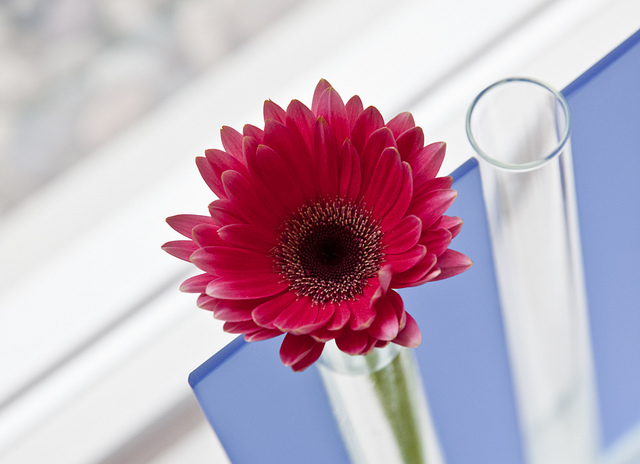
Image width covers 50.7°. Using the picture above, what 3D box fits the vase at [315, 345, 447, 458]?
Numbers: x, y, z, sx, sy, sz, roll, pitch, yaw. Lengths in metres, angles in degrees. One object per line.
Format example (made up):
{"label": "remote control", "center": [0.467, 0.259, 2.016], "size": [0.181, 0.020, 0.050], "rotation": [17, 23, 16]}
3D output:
{"label": "vase", "center": [0.070, 0.203, 0.760], "size": [0.116, 0.151, 0.091], "rotation": [-20, -11, 5]}
